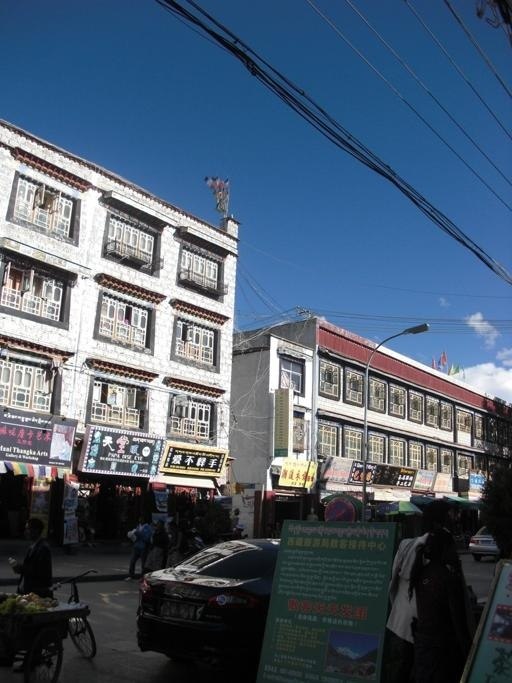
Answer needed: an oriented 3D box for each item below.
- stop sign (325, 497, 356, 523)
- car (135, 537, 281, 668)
[{"bbox_3d":[1.735,3.424,11.794,0.358,0.474,1.206,7,-12,-12],"label":"stop sign"},{"bbox_3d":[-0.329,2.582,5.841,0.982,0.674,2.158,-5,-14,24],"label":"car"}]
